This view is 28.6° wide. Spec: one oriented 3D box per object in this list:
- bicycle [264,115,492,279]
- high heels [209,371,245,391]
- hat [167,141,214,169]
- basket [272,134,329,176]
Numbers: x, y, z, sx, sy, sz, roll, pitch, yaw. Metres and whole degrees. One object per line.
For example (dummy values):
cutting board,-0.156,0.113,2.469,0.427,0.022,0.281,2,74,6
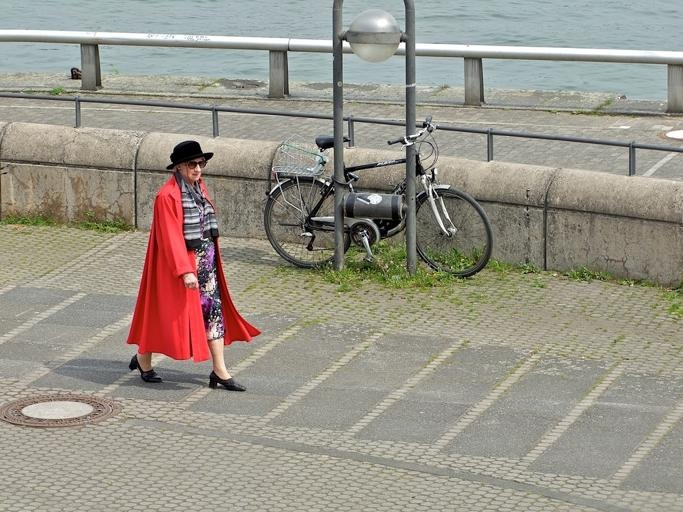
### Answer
bicycle,0.309,-0.569,13.896,2.770,1.377,1.150,5,4,34
high heels,-0.962,1.066,11.355,0.377,0.128,0.124,5,10,8
hat,-1.293,-0.789,11.054,0.291,0.105,0.319,-18,4,-41
basket,-0.429,-0.995,14.358,0.612,0.378,0.234,7,-20,14
